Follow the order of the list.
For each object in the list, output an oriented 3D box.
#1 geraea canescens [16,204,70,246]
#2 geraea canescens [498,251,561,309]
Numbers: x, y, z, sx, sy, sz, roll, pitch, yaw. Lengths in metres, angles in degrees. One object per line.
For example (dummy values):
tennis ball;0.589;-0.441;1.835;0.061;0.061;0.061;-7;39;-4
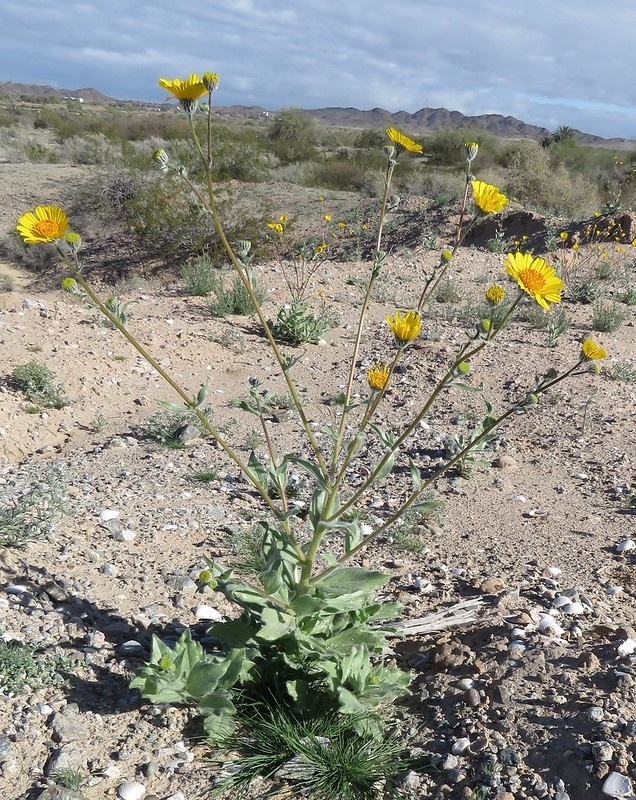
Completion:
geraea canescens;-0.887;-0.569;2.422;0.143;0.121;0.319;0;14;-21
geraea canescens;0.623;-0.345;2.181;0.063;0.179;0.195;-44;32;-22
